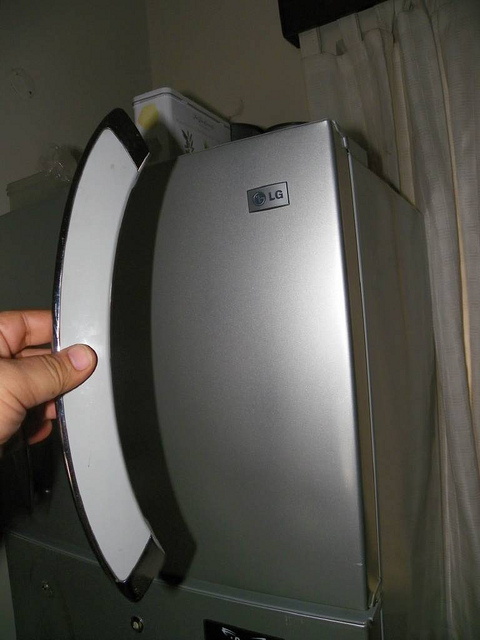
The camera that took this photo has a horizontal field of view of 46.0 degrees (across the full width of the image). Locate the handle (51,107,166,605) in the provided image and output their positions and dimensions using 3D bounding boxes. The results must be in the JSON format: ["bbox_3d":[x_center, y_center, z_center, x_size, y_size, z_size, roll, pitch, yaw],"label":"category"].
[{"bbox_3d":[-0.130,0.042,0.590,0.076,0.335,0.150,-5,7,19],"label":"handle"}]
